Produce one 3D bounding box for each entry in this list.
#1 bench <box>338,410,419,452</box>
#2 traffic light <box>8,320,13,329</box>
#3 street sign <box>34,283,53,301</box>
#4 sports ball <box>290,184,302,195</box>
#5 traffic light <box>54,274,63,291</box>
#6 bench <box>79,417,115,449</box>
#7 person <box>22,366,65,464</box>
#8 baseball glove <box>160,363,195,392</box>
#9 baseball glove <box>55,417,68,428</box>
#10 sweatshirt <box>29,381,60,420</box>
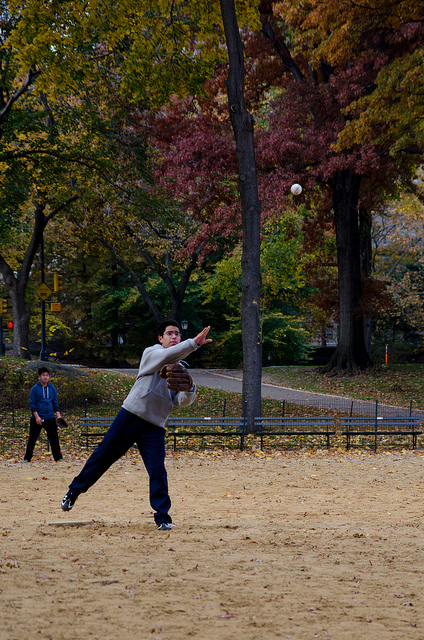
[{"bbox_3d":[3.605,2.322,24.847,1.602,0.794,3.377,-1,-1,10],"label":"bench"},{"bbox_3d":[-6.700,0.156,38.261,0.109,0.339,0.345,8,-21,-5],"label":"traffic light"},{"bbox_3d":[-4.616,-0.780,31.642,0.372,0.389,0.726,0,-1,-8],"label":"street sign"},{"bbox_3d":[2.116,-3.317,29.124,0.254,0.230,0.476,-1,-1,1],"label":"sports ball"},{"bbox_3d":[-4.527,-1.110,33.845,0.201,0.433,0.985,-1,-1,-7],"label":"traffic light"},{"bbox_3d":[-2.182,2.125,21.757,1.085,0.458,0.423,2,1,-21],"label":"bench"},{"bbox_3d":[-3.114,1.764,21.334,0.748,1.537,1.349,-1,-1,-8],"label":"person"},{"bbox_3d":[-0.481,0.773,15.688,0.460,0.346,0.278,-1,-1,-2],"label":"baseball glove"},{"bbox_3d":[-2.734,1.858,20.948,0.208,0.116,0.268,22,-6,-11],"label":"baseball glove"},{"bbox_3d":[-3.045,1.467,20.980,0.541,0.576,0.364,0,-1,-25],"label":"sweatshirt"}]
